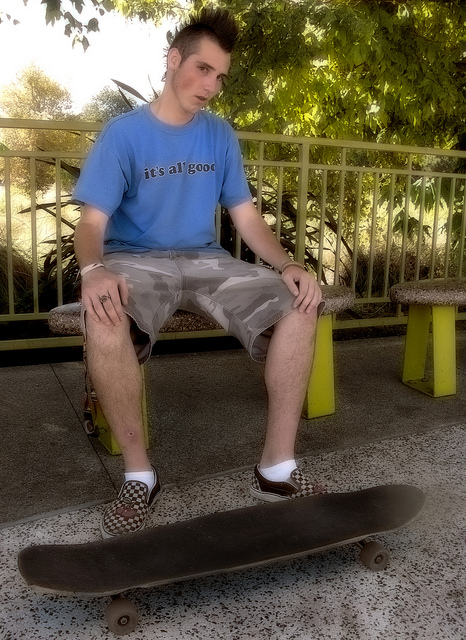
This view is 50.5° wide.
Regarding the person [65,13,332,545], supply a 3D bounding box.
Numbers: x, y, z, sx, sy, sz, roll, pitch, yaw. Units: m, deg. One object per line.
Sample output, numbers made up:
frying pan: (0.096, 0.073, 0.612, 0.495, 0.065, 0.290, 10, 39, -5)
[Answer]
person: (-0.100, -0.216, 1.402, 0.671, 1.409, 0.819, -3, 9, -18)
